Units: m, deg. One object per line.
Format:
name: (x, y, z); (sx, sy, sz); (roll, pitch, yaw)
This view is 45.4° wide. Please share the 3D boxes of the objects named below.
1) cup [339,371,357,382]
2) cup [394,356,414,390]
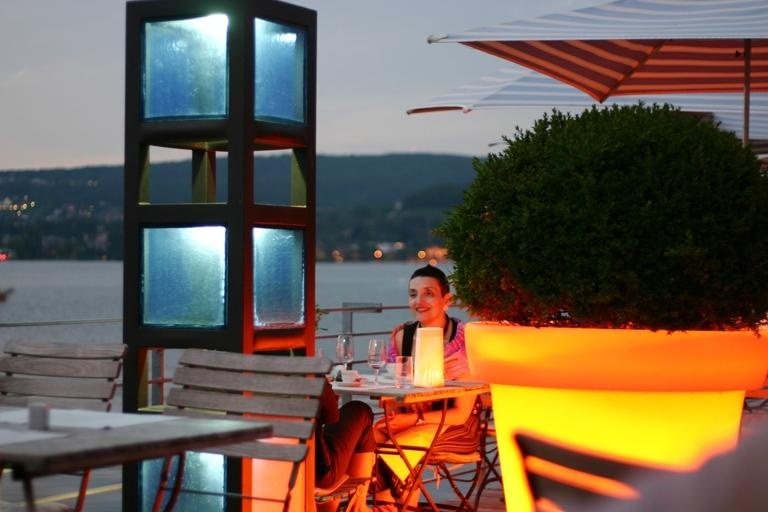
cup: (-0.184, 0.652, 4.935); (0.058, 0.052, 0.065); (-1, 1, 24)
cup: (0.107, 0.620, 4.941); (0.120, 0.207, 0.128); (-1, -3, 0)
